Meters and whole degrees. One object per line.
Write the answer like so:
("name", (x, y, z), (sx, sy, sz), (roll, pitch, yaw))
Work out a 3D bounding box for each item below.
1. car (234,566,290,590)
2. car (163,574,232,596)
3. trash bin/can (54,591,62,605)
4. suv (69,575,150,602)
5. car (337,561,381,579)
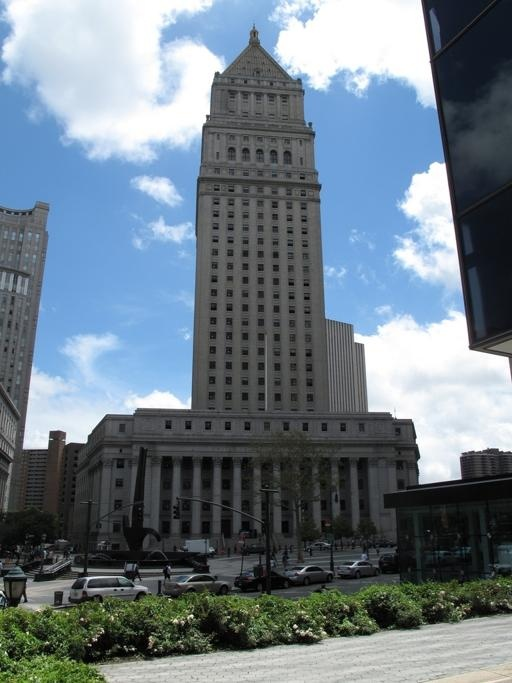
("car", (0.303, 14.496, 38.544), (1.978, 1.107, 3.524), (-10, -20, 29))
("car", (-3.065, 12.828, 33.532), (1.328, 0.984, 3.680), (-13, -22, 35))
("trash bin/can", (-9.468, 12.428, 30.693), (0.340, 0.620, 0.536), (8, -20, -23))
("suv", (-6.663, 11.287, 28.929), (2.775, 1.087, 1.733), (12, -22, -34))
("car", (7.578, 16.613, 46.313), (2.926, 0.856, 1.344), (5, -12, -28))
